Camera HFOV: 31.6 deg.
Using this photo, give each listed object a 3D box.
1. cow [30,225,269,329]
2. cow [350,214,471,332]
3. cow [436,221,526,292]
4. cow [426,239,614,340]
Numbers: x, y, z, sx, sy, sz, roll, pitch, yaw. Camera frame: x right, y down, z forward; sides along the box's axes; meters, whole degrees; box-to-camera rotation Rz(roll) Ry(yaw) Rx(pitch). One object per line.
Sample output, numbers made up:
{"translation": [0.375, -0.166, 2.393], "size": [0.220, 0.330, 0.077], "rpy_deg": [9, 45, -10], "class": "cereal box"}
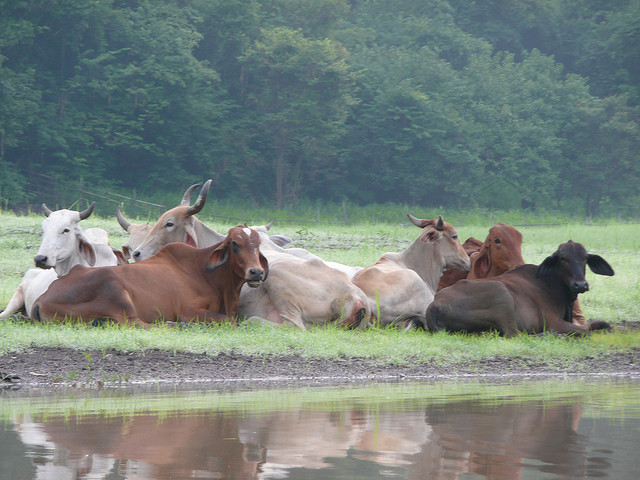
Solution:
{"translation": [-2.683, 0.788, 18.097], "size": [3.955, 1.539, 1.503], "rpy_deg": [-5, -1, -38], "class": "cow"}
{"translation": [1.437, 0.532, 19.142], "size": [2.627, 1.755, 1.378], "rpy_deg": [-7, 9, -40], "class": "cow"}
{"translation": [2.841, 0.504, 19.636], "size": [1.001, 1.549, 2.719], "rpy_deg": [0, 3, -14], "class": "cow"}
{"translation": [3.111, 0.763, 17.781], "size": [2.787, 1.515, 0.777], "rpy_deg": [2, 6, -8], "class": "cow"}
